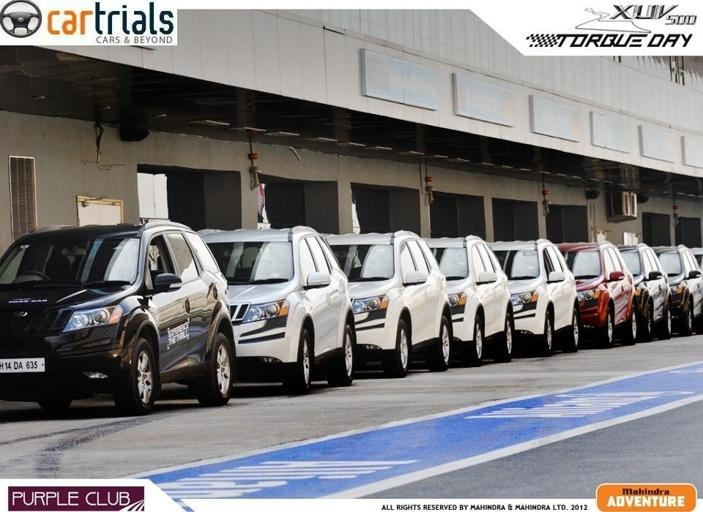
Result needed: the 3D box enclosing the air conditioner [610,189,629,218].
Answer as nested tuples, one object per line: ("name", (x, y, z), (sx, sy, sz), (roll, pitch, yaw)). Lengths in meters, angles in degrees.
("air conditioner", (13.871, -2.738, 50.347), (1.120, 1.732, 1.215), (-2, -4, 28))
